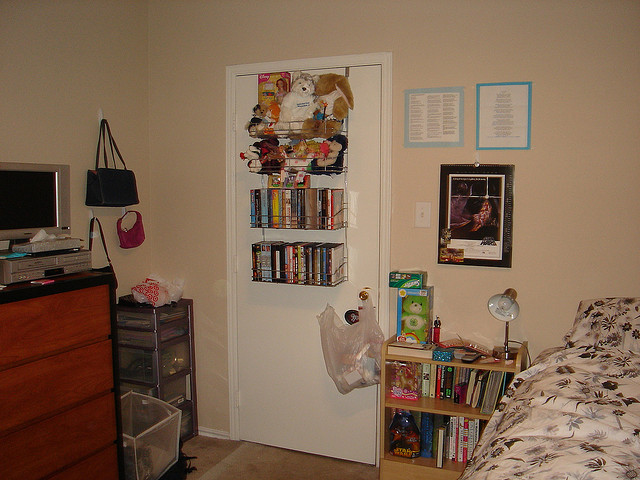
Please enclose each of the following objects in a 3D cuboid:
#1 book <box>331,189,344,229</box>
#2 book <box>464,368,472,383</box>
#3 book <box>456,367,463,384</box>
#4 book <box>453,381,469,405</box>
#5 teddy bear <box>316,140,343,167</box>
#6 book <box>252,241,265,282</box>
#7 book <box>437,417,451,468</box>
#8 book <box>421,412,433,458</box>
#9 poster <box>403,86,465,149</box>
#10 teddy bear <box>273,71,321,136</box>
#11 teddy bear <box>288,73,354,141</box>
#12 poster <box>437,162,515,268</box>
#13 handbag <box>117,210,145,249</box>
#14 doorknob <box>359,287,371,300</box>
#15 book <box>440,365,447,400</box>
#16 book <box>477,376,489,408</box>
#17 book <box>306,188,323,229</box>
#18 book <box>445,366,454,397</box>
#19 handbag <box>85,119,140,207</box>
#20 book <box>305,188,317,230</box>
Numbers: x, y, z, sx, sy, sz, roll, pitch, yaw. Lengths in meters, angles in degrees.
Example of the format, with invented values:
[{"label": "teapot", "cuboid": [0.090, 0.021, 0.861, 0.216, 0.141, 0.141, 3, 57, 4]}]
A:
[{"label": "book", "cuboid": [0.114, -0.210, 3.461, 0.047, 0.209, 0.202, 4, 7, 22]}, {"label": "book", "cuboid": [0.910, 0.830, 3.221, 0.062, 0.082, 0.086, 3, 4, 12]}, {"label": "book", "cuboid": [0.860, 0.834, 3.225, 0.019, 0.078, 0.082, 3, -3, 13]}, {"label": "book", "cuboid": [0.869, 0.940, 3.198, 0.072, 0.134, 0.133, 1, 1, 39]}, {"label": "teddy bear", "cuboid": [0.066, -0.565, 3.410, 0.151, 0.159, 0.051, 17, 10, 2]}, {"label": "book", "cuboid": [-0.428, 0.152, 3.607, 0.122, 0.221, 0.221, -2, 13, -10]}, {"label": "book", "cuboid": [0.760, 1.257, 3.210, 0.048, 0.301, 0.259, 4, -1, 20]}, {"label": "book", "cuboid": [0.667, 1.214, 3.248, 0.072, 0.287, 0.027, 3, 7, 6]}, {"label": "poster", "cuboid": [0.748, -0.794, 3.335, 0.386, 0.390, 0.017, 3, 11, 17]}, {"label": "teddy bear", "cuboid": [-0.113, -0.917, 3.511, 0.258, 0.431, 0.301, 9, 12, 1]}, {"label": "teddy bear", "cuboid": [0.015, -0.898, 3.438, 0.369, 0.402, 0.252, 10, 13, 12]}, {"label": "poster", "cuboid": [1.009, -0.173, 3.294, 0.605, 0.863, 0.063, 3, 5, 17]}, {"label": "handbag", "cuboid": [-1.434, -0.073, 3.841, 0.097, 0.356, 0.430, -3, 16, -34]}, {"label": "doorknob", "cuboid": [0.308, 0.365, 3.538, 0.058, 0.064, 0.126, -3, -11, 6]}, {"label": "book", "cuboid": [0.766, 0.886, 3.242, 0.035, 0.158, 0.152, 3, -3, 10]}, {"label": "book", "cuboid": [0.980, 0.919, 3.141, 0.030, 0.136, 0.127, 9, 8, 20]}, {"label": "book", "cuboid": [-0.085, -0.225, 3.536, 0.136, 0.210, 0.212, -1, -6, -11]}, {"label": "book", "cuboid": [0.799, 0.881, 3.232, 0.051, 0.190, 0.015, 4, 8, 18]}, {"label": "handbag", "cuboid": [-1.456, -0.525, 3.590, 0.335, 0.610, 0.257, -5, 10, -42]}, {"label": "book", "cuboid": [-0.062, -0.211, 3.452, 0.088, 0.251, 0.258, 0, 0, 6]}]
